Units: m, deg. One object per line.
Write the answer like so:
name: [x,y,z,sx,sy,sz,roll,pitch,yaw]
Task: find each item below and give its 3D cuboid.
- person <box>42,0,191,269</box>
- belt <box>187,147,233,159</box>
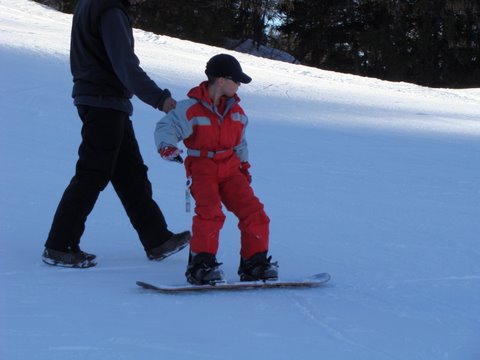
person: [-0.868,-0.326,4.115,0.847,1.863,0.536,5,10,-17]
belt: [-0.206,-0.199,4.103,0.325,0.094,0.135,6,9,-9]
